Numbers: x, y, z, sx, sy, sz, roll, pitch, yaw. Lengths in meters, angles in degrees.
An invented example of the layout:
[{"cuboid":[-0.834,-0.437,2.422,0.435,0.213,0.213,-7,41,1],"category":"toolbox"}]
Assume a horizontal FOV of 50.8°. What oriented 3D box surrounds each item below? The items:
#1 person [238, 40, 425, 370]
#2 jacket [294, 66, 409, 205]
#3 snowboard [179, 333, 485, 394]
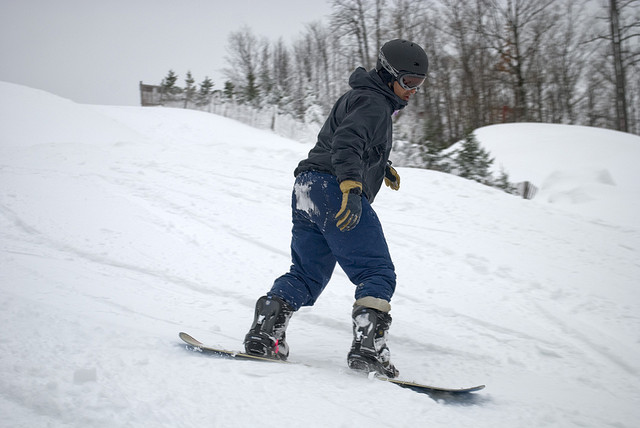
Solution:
[{"cuboid":[0.330,-0.194,8.019,1.626,3.863,0.898,8,6,5],"category":"person"},{"cuboid":[0.410,-1.028,8.189,0.755,1.536,0.784,12,8,39],"category":"jacket"},{"cuboid":[0.084,1.746,7.799,3.596,0.337,0.169,5,6,5],"category":"snowboard"}]
